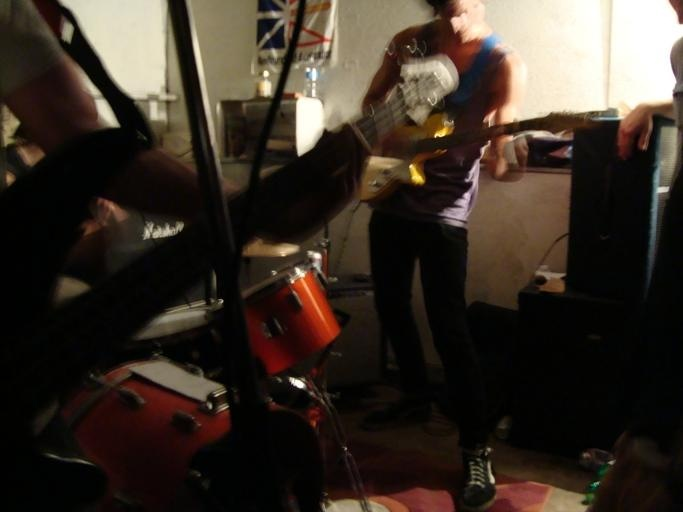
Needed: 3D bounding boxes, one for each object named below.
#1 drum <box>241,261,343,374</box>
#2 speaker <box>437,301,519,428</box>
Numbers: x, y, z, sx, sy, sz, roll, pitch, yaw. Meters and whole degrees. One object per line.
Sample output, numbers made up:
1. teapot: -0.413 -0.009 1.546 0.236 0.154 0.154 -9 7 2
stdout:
1. drum: -0.106 0.154 1.463 0.246 0.188 0.254 -28 -3 -1
2. speaker: 0.521 0.349 2.088 0.230 0.340 0.227 8 -8 25
